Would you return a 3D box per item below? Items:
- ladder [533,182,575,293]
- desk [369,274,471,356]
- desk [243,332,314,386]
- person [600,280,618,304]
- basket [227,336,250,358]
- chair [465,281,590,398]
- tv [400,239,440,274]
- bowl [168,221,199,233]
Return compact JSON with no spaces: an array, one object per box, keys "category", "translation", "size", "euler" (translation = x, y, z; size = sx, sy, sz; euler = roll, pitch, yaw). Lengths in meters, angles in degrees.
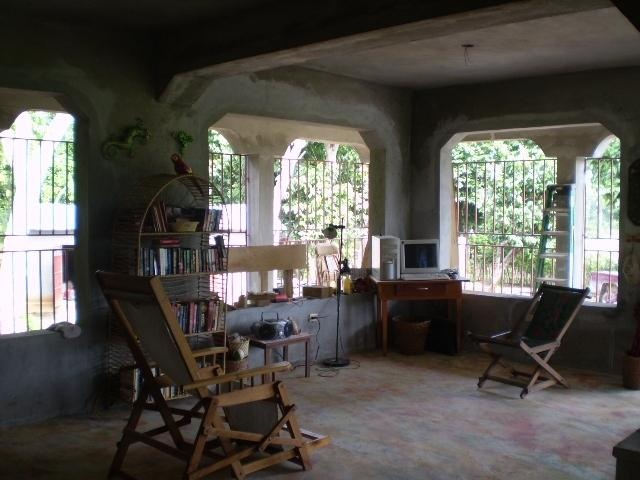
[{"category":"ladder","translation":[3.859,-0.095,8.388],"size":[0.519,1.631,2.231],"euler":[4,9,25]},{"category":"desk","translation":[1.398,1.034,7.278],"size":[1.183,1.048,0.881],"euler":[-2,0,5]},{"category":"desk","translation":[-0.497,1.255,6.052],"size":[0.517,0.511,0.686],"euler":[1,3,41]},{"category":"person","translation":[5.053,0.917,9.049],"size":[0.250,0.407,1.002],"euler":[5,9,28]},{"category":"basket","translation":[-0.900,1.190,5.741],"size":[0.220,0.166,0.190],"euler":[4,-2,-37]},{"category":"chair","translation":[2.400,1.149,5.968],"size":[1.198,1.168,0.771],"euler":[-1,2,-30]},{"category":"tv","translation":[1.351,0.233,7.273],"size":[0.719,0.637,0.396],"euler":[1,-1,-2]},{"category":"bowl","translation":[-1.391,-0.135,5.338],"size":[0.294,0.109,0.125],"euler":[-7,11,-43]}]
